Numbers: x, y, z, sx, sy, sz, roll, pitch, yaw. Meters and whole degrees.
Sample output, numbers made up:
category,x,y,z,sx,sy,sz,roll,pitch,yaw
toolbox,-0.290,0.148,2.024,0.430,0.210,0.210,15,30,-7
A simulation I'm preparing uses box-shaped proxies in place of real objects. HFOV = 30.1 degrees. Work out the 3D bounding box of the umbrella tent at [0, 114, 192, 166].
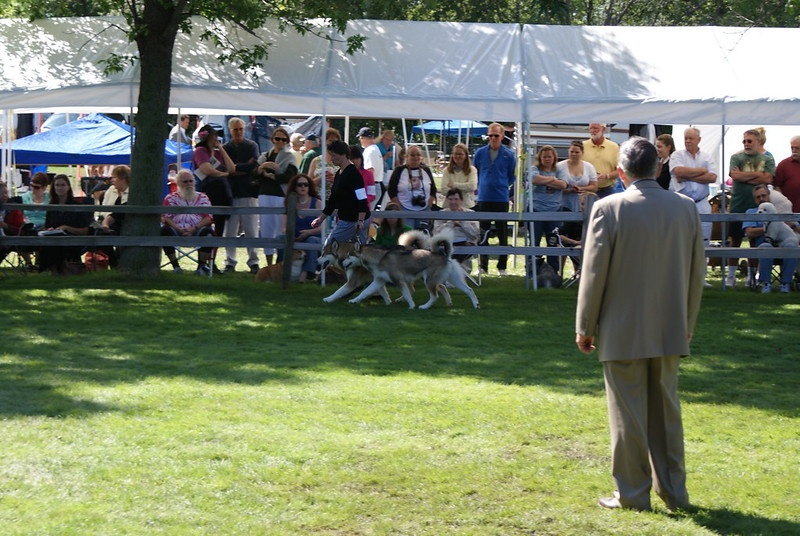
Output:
category,x,y,z,sx,sy,sz,roll,pitch,yaw
umbrella tent,-6.728,-2.635,31.991,2.685,0.665,2.493,-2,7,-13

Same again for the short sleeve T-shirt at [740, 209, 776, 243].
category,x,y,z,sx,sy,sz,roll,pitch,yaw
short sleeve T-shirt,5.846,-0.729,24.515,0.479,0.507,0.229,10,12,28

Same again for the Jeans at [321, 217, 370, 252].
category,x,y,z,sx,sy,sz,roll,pitch,yaw
Jeans,-0.794,-0.537,23.614,0.630,0.821,0.564,4,5,19

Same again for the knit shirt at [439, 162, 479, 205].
category,x,y,z,sx,sy,sz,roll,pitch,yaw
knit shirt,1.077,-1.476,25.731,0.961,0.920,0.655,0,-1,5

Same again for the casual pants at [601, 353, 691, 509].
category,x,y,z,sx,sy,sz,roll,pitch,yaw
casual pants,2.924,1.937,17.614,1.016,1.809,0.334,1,4,5

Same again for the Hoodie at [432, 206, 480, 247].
category,x,y,z,sx,sy,sz,roll,pitch,yaw
Hoodie,0.963,-0.686,24.615,0.638,0.552,0.714,3,-13,-2

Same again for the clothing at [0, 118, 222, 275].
category,x,y,z,sx,sy,sz,roll,pitch,yaw
clothing,-6.551,-1.661,32.736,3.438,1.178,3.376,-15,22,-42

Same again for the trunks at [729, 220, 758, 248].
category,x,y,z,sx,sy,sz,roll,pitch,yaw
trunks,5.774,-0.605,24.998,0.543,0.519,0.167,-2,3,-8
